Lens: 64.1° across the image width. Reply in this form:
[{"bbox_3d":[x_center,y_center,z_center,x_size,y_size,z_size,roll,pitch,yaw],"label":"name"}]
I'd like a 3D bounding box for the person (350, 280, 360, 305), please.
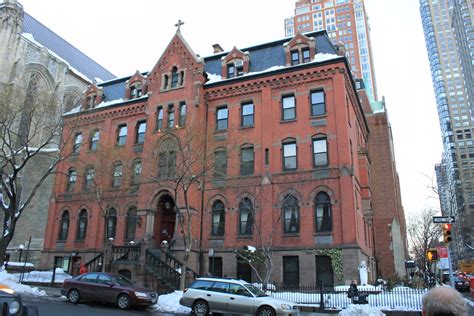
[{"bbox_3d":[7.606,8.833,24.668,0.603,1.201,0.791,-5,-21,12],"label":"person"}]

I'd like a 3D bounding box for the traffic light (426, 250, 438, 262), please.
[{"bbox_3d":[12.755,6.290,24.654,0.645,0.703,0.663,-10,-22,23],"label":"traffic light"}]
